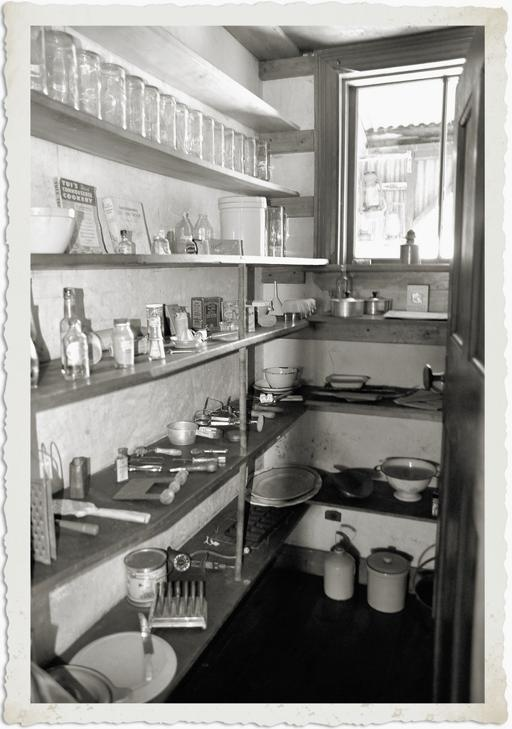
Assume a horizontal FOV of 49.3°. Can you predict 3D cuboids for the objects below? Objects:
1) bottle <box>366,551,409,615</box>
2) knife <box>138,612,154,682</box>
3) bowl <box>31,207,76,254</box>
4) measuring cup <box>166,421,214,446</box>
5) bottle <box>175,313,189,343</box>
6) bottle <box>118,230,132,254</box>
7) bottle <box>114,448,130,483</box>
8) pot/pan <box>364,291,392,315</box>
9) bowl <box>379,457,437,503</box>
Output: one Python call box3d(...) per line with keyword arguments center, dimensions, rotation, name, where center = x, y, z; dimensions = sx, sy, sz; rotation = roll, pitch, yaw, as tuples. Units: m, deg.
box3d(center=(0.689, 1.086, 2.891), dimensions=(0.214, 0.273, 0.234), rotation=(1, 5, 0), name="bottle")
box3d(center=(-0.323, 0.841, 1.647), dimensions=(0.030, 0.027, 0.199), rotation=(11, 48, -24), name="knife")
box3d(center=(-0.393, -0.260, 1.070), dimensions=(0.080, 0.072, 0.081), rotation=(2, 12, 0), name="bowl")
box3d(center=(-0.253, 0.245, 2.133), dimensions=(0.136, 0.065, 0.089), rotation=(6, 1, 6), name="measuring cup")
box3d(center=(-0.237, -0.125, 1.771), dimensions=(0.042, 0.078, 0.114), rotation=(-5, 14, -9), name="bottle")
box3d(center=(-0.340, -0.322, 1.444), dimensions=(0.038, 0.058, 0.145), rotation=(-6, 14, -12), name="bottle")
box3d(center=(-0.411, 0.309, 1.701), dimensions=(0.056, 0.124, 0.061), rotation=(1, 8, 0), name="bottle")
box3d(center=(0.650, -0.328, 2.928), dimensions=(0.108, 0.119, 0.123), rotation=(-1, 7, 2), name="pot/pan")
box3d(center=(0.831, 0.622, 2.978), dimensions=(0.260, 0.170, 0.255), rotation=(0, 14, 0), name="bowl")
